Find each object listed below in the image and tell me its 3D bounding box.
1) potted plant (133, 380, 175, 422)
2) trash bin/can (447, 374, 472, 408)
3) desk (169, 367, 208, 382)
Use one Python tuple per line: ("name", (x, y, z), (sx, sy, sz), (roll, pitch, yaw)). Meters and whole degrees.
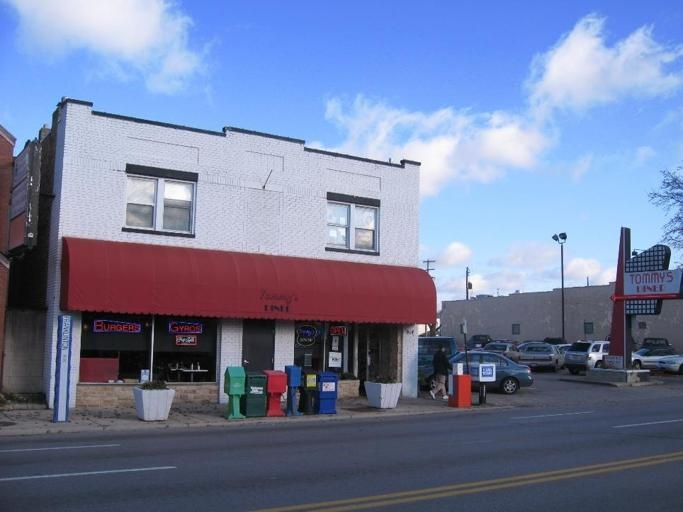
("potted plant", (-5.588, 4.294, 22.771), (1.213, 1.464, 1.051), (5, -11, -30))
("trash bin/can", (4.145, 4.735, 26.993), (0.760, 1.145, 0.619), (-2, -10, 3))
("desk", (-5.157, 4.007, 26.025), (1.276, 0.421, 0.257), (7, -13, -39))
